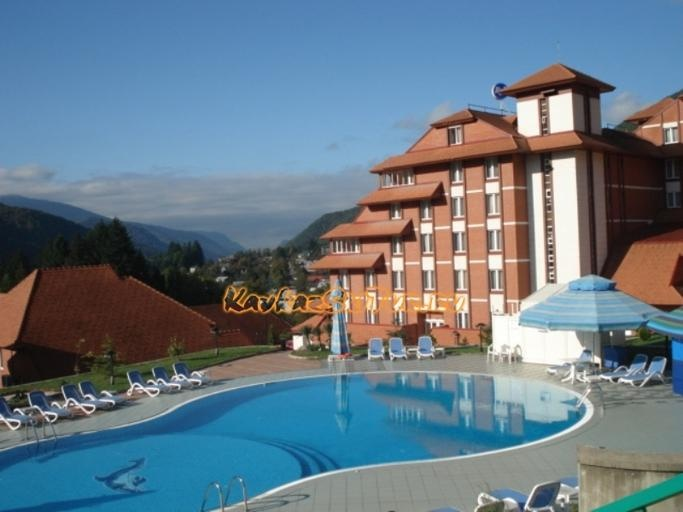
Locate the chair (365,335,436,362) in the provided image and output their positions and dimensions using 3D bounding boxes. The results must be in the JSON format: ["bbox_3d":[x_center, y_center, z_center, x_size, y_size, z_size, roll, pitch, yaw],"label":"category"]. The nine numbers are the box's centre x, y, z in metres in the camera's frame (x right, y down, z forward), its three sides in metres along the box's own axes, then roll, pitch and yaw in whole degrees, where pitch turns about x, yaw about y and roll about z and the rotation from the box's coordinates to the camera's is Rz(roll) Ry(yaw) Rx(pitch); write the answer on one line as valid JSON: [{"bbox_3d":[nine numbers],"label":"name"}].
[{"bbox_3d":[3.197,5.043,37.746,3.630,1.155,1.948,-2,-5,5],"label":"chair"}]

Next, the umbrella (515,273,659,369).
[{"bbox_3d":[10.446,2.834,29.139,3.418,2.842,3.315,-7,8,-43],"label":"umbrella"}]
